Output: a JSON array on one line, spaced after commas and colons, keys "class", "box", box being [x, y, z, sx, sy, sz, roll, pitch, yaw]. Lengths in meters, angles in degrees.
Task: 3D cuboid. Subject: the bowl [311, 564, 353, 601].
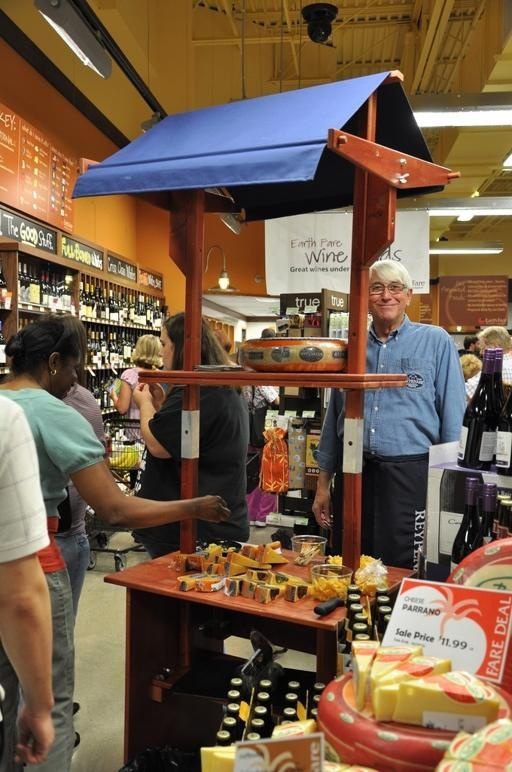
[{"class": "bowl", "box": [0.189, 0.470, 1.451, 0.085, 0.061, 0.089, 0, -9, 0]}]

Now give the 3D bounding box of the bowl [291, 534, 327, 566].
[{"class": "bowl", "box": [0.149, 0.471, 1.714, 0.078, 0.061, 0.084, 0, -9, 0]}]

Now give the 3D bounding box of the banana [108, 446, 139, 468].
[{"class": "banana", "box": [-1.155, 0.634, 5.246, 0.215, 0.220, 0.222, -3, -5, 40]}]

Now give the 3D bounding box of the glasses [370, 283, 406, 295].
[{"class": "glasses", "box": [0.515, -0.378, 2.308, 0.134, 0.043, 0.043, 2, 2, 9]}]
